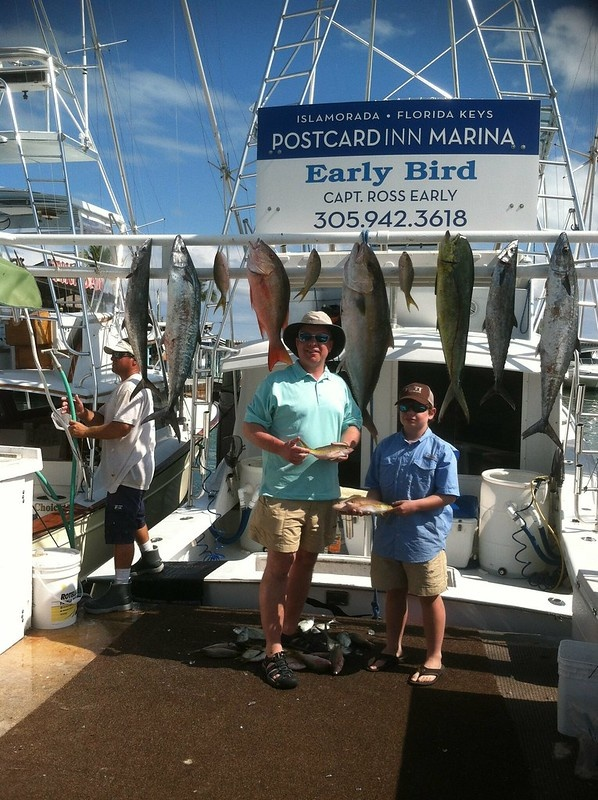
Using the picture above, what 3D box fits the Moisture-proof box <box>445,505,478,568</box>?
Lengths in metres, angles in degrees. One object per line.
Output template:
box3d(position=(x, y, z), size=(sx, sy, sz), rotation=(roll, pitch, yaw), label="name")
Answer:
box3d(position=(1.087, 0.961, 4.573), size=(0.221, 0.323, 0.241), rotation=(0, 10, -8), label="Moisture-proof box")

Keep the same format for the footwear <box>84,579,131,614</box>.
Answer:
box3d(position=(-1.083, 1.143, 3.772), size=(0.280, 0.163, 0.128), rotation=(2, -10, -14), label="footwear")

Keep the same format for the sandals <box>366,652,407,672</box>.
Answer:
box3d(position=(0.402, 1.251, 3.129), size=(0.063, 0.042, 0.178), rotation=(-9, -14, 42), label="sandals")

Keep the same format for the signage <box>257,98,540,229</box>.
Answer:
box3d(position=(0.635, -1.342, 3.718), size=(1.869, 0.811, 0.028), rotation=(0, -4, 8), label="signage")

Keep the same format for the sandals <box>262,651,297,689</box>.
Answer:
box3d(position=(-0.083, 1.217, 2.912), size=(0.085, 0.093, 0.205), rotation=(4, -11, -14), label="sandals")

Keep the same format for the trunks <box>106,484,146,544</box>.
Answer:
box3d(position=(-1.078, 0.666, 4.067), size=(0.216, 0.354, 0.350), rotation=(4, 5, 0), label="trunks")

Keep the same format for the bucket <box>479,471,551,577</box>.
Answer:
box3d(position=(1.575, 0.914, 4.511), size=(0.438, 0.649, 0.458), rotation=(7, -6, 1), label="bucket")

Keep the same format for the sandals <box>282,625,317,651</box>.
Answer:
box3d(position=(-0.005, 1.219, 3.341), size=(0.187, 0.084, 0.288), rotation=(2, -9, 0), label="sandals")

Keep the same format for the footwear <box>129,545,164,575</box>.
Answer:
box3d(position=(-0.970, 0.994, 3.992), size=(0.272, 0.169, 0.097), rotation=(-2, -7, 13), label="footwear")

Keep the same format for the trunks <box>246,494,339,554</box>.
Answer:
box3d(position=(-0.019, 0.561, 3.124), size=(0.456, 0.307, 0.257), rotation=(11, -7, -31), label="trunks")

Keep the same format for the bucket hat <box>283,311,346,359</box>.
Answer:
box3d(position=(0.080, -0.317, 3.274), size=(0.313, 0.133, 0.336), rotation=(5, -43, 7), label="bucket hat")
